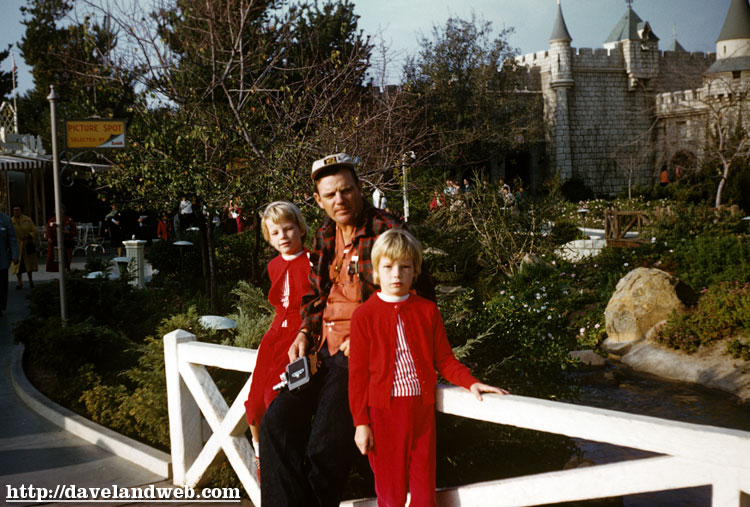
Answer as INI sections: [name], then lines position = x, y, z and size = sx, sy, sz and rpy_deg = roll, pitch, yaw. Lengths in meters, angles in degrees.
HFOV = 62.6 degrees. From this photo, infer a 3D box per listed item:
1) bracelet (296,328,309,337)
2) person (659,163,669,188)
[bracelet]
position = -0.496, 0.544, 4.301
size = 0.029, 0.038, 0.082
rpy_deg = 0, -5, -38
[person]
position = 18.098, -4.944, 38.394
size = 0.601, 1.305, 1.400
rpy_deg = 2, 6, 26
